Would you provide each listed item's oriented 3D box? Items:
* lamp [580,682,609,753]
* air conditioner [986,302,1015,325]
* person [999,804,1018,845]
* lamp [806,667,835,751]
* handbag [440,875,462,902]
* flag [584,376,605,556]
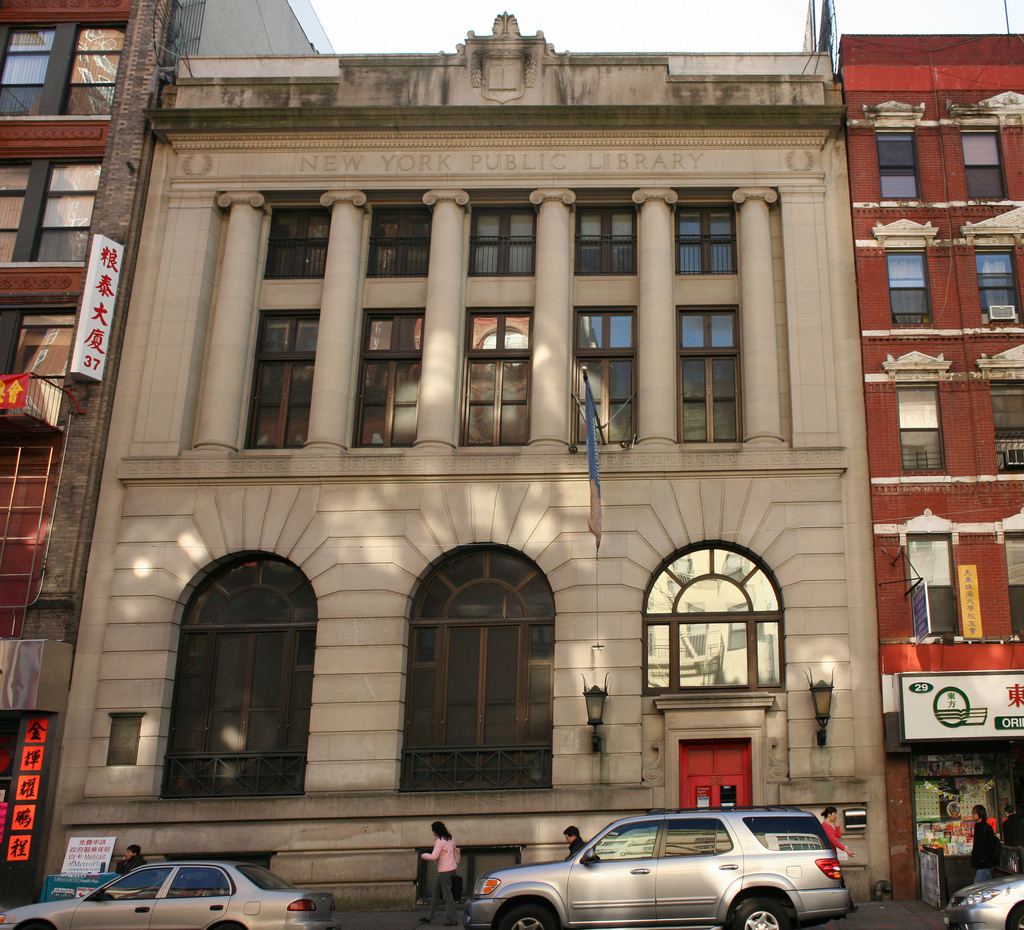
[{"bbox_3d":[1.825,5.449,24.839,0.555,1.490,0.690,-2,-20,4],"label":"lamp"},{"bbox_3d":[11.766,-3.604,27.527,0.696,0.477,0.397,2,-16,5],"label":"air conditioner"},{"bbox_3d":[10.308,7.464,23.761,0.370,0.843,1.062,-8,-22,21],"label":"person"},{"bbox_3d":[6.708,5.282,24.721,0.546,1.559,0.593,-6,-21,17],"label":"lamp"},{"bbox_3d":[-1.181,7.970,21.637,0.398,0.547,0.901,-3,-21,9],"label":"handbag"},{"bbox_3d":[1.730,-0.240,25.374,0.201,4.423,0.735,-6,8,-2],"label":"flag"}]
